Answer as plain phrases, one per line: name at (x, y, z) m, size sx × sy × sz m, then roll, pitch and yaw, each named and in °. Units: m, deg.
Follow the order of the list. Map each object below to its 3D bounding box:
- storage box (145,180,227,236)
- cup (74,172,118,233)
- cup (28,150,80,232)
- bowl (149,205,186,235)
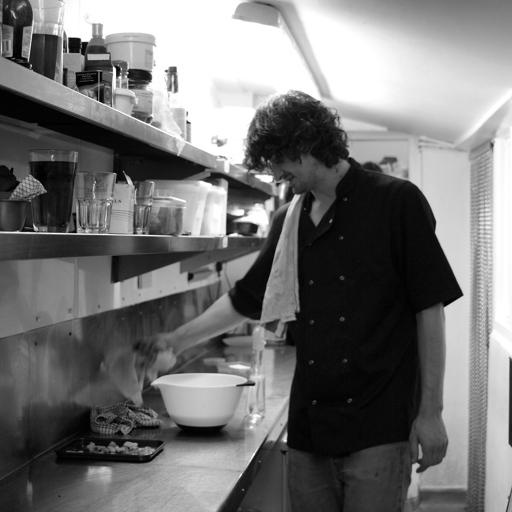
storage box at (-0.206, -0.180, 2.052) m, size 0.155 × 0.138 × 0.263 m, roll 1°, pitch -3°, yaw 8°
cup at (-0.365, -0.123, 1.227) m, size 0.085 × 0.144 × 0.155 m, roll 4°, pitch -1°, yaw -19°
cup at (-0.412, -0.125, 1.052) m, size 0.132 × 0.166 × 0.082 m, roll 3°, pitch -1°, yaw 35°
bowl at (-0.276, -0.099, 1.653) m, size 0.078 × 0.092 × 0.084 m, roll 3°, pitch -1°, yaw 0°
